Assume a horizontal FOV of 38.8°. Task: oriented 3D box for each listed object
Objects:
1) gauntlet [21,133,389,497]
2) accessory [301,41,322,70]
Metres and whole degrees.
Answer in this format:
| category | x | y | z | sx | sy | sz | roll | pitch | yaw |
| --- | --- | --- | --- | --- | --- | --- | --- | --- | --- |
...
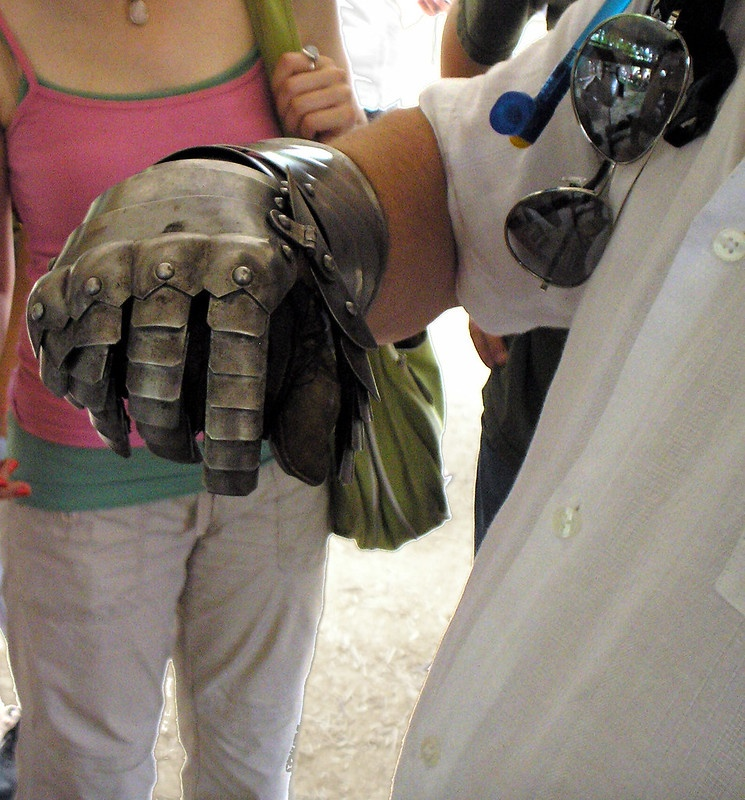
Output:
| category | x | y | z | sx | sy | sz | roll | pitch | yaw |
| --- | --- | --- | --- | --- | --- | --- | --- | --- | --- |
| gauntlet | -0.104 | -0.058 | 0.690 | 0.180 | 0.153 | 0.289 | -1 | 55 | 3 |
| accessory | -0.065 | -0.367 | 1.116 | 0.009 | 0.021 | 0.031 | -3 | 62 | -19 |
